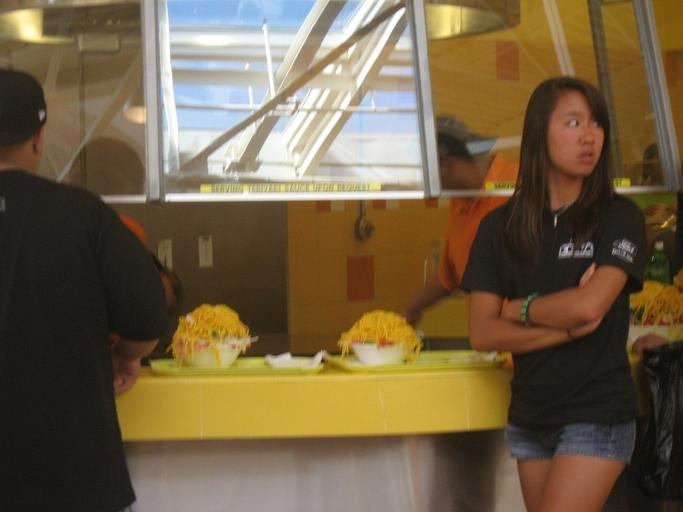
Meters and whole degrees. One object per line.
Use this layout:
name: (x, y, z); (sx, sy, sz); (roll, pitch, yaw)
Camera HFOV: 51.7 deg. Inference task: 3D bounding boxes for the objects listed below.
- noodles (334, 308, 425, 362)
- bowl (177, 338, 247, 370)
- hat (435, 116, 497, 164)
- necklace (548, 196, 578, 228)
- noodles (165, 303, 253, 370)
noodles: (0.127, 0.268, 2.483); (0.251, 0.174, 0.274); (3, -6, -11)
bowl: (-0.418, 0.303, 2.378); (0.191, 0.102, 0.189); (4, 2, 0)
hat: (0.576, -0.526, 3.256); (0.174, 0.219, 0.233); (-6, 10, -31)
necklace: (0.631, -0.121, 2.009); (0.079, 0.083, 0.042); (7, -17, 38)
noodles: (-0.452, 0.283, 2.448); (0.261, 0.197, 0.244); (-3, 7, -33)
